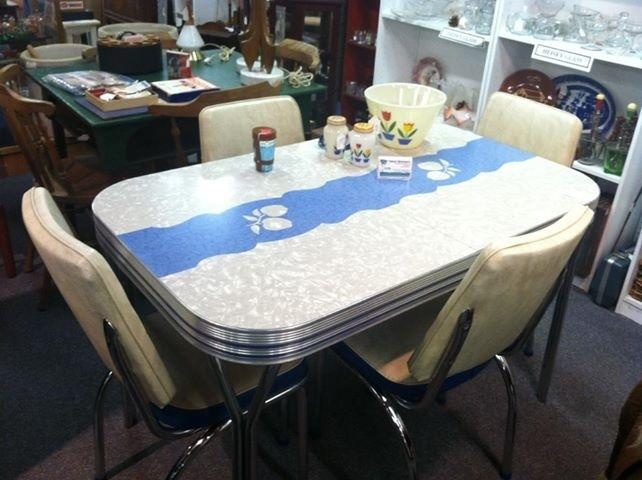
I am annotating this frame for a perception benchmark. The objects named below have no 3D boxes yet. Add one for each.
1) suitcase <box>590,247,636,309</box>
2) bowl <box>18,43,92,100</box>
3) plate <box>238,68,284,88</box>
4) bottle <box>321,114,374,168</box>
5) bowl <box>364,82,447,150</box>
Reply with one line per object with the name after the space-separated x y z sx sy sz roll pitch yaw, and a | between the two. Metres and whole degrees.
1.479 0.199 2.467 0.221 0.230 0.130 -20 36 -34 | suitcase
-1.708 -1.146 3.080 0.297 0.218 0.317 -6 33 4 | bowl
-0.330 -0.887 2.674 0.215 0.052 0.217 29 37 36 | plate
0.107 -0.386 1.863 0.224 0.173 0.136 25 38 31 | bottle
0.315 -0.513 1.955 0.313 0.201 0.310 0 32 0 | bowl
